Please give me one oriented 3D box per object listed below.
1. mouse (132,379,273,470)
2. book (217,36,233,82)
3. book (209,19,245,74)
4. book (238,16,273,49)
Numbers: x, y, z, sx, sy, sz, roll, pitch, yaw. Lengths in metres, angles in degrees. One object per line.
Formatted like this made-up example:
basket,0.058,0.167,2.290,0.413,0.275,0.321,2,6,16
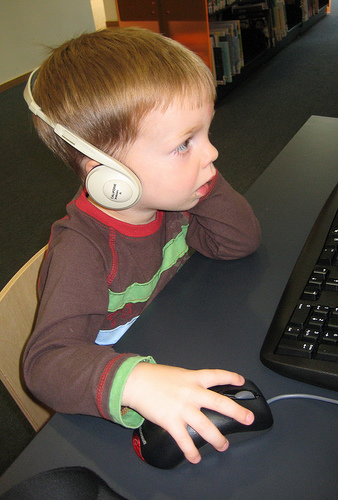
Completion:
mouse,0.037,0.172,0.422,0.148,0.053,0.076,-11,30,-18
book,0.438,-1.539,3.185,0.131,0.243,0.252,-6,45,13
book,0.464,-1.722,3.363,0.267,0.255,0.214,-10,30,-2
book,0.877,-2.080,3.911,0.236,0.343,0.111,-4,7,7
